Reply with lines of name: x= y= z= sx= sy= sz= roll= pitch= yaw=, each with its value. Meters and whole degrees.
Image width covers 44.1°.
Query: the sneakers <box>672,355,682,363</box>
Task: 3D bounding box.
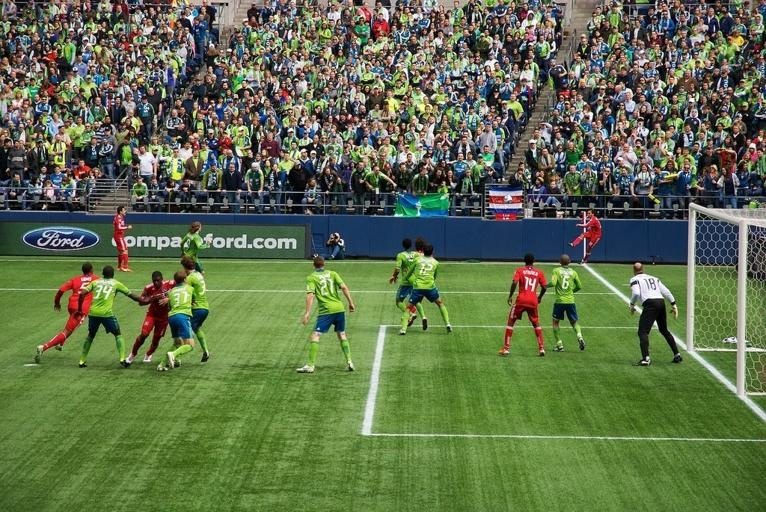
sneakers: x=7.631 y=2.742 z=24.650 sx=0.134 sy=0.199 sz=0.275 roll=3 pitch=6 yaw=13

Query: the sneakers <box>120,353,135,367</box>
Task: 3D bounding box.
sneakers: x=-6.417 y=2.715 z=24.024 sx=0.170 sy=0.242 sz=0.499 roll=1 pitch=5 yaw=-2

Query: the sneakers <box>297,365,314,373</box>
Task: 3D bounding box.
sneakers: x=-1.934 y=2.906 z=23.748 sx=0.464 sy=0.240 sz=0.185 roll=2 pitch=-8 yaw=5

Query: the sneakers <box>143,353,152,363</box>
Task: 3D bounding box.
sneakers: x=-6.017 y=2.697 z=24.323 sx=0.137 sy=0.184 sz=0.396 roll=1 pitch=2 yaw=-3

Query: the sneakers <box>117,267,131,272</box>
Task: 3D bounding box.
sneakers: x=-9.614 y=0.567 z=35.340 sx=0.486 sy=0.239 sz=0.188 roll=0 pitch=2 yaw=-2

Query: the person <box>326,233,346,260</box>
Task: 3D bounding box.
person: x=-1.920 y=-0.338 z=38.935 sx=0.772 sy=1.171 sz=0.787 roll=1 pitch=7 yaw=-3

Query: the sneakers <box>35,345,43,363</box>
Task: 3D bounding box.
sneakers: x=-8.702 y=2.576 z=24.070 sx=0.140 sy=0.436 sz=0.186 roll=13 pitch=3 yaw=-5

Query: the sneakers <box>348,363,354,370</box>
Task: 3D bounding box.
sneakers: x=-0.806 y=2.866 z=23.913 sx=0.121 sy=0.228 sz=0.212 roll=2 pitch=2 yaw=1

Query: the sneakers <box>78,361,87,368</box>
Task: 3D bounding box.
sneakers: x=-7.559 y=2.831 z=23.992 sx=0.165 sy=0.187 sz=0.107 roll=-2 pitch=-9 yaw=32

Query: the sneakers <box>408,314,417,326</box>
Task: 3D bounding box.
sneakers: x=0.827 y=1.898 z=27.366 sx=0.133 sy=0.416 sz=0.173 roll=-4 pitch=40 yaw=-42
